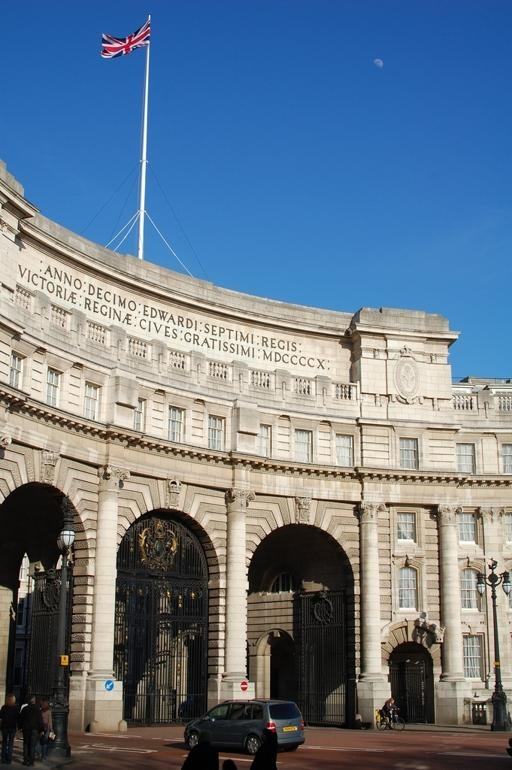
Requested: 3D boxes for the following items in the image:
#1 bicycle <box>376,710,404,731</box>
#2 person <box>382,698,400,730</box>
[{"bbox_3d":[5.662,14.278,42.719,1.182,0.754,0.584,-22,-29,37],"label":"bicycle"},{"bbox_3d":[5.716,14.180,43.034,0.560,0.725,1.150,12,-34,-27],"label":"person"}]
